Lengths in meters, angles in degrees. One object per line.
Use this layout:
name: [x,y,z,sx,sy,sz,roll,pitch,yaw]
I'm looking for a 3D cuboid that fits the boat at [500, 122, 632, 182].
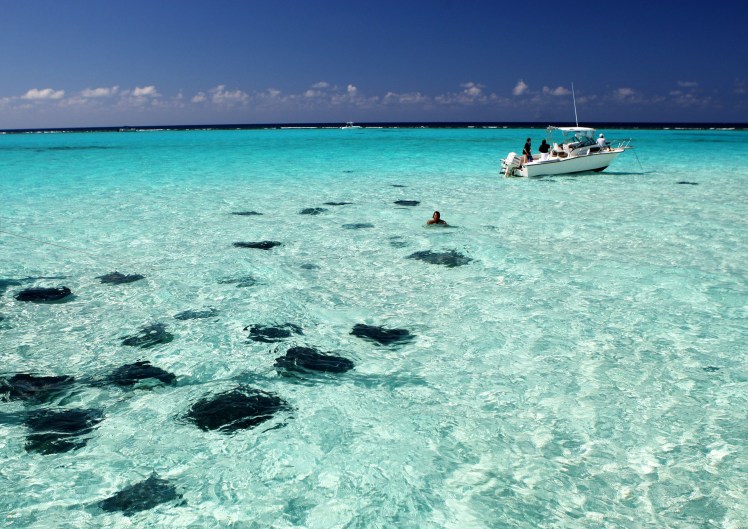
boat: [7.671,-4.882,23.642,7.945,2.029,1.982,-6,35,-9]
